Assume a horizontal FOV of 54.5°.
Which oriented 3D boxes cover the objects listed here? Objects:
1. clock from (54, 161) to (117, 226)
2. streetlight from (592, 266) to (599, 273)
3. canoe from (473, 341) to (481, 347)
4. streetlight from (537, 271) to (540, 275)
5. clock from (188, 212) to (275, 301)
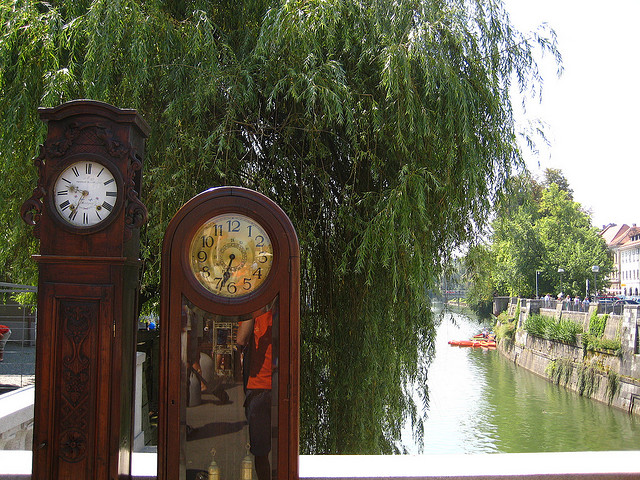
[{"bbox_3d":[-1.558,-0.298,4.152,0.296,0.423,0.026,1,-4,2],"label":"clock"},{"bbox_3d":[12.611,1.327,28.556,0.269,0.339,0.258,-2,5,-38],"label":"streetlight"},{"bbox_3d":[8.647,5.774,34.301,0.404,0.265,0.545,-2,-11,17],"label":"canoe"},{"bbox_3d":[11.032,1.678,31.398,0.100,0.267,0.119,0,4,-2],"label":"streetlight"},{"bbox_3d":[-0.606,0.122,4.250,0.408,0.568,0.051,1,-6,0],"label":"clock"}]
